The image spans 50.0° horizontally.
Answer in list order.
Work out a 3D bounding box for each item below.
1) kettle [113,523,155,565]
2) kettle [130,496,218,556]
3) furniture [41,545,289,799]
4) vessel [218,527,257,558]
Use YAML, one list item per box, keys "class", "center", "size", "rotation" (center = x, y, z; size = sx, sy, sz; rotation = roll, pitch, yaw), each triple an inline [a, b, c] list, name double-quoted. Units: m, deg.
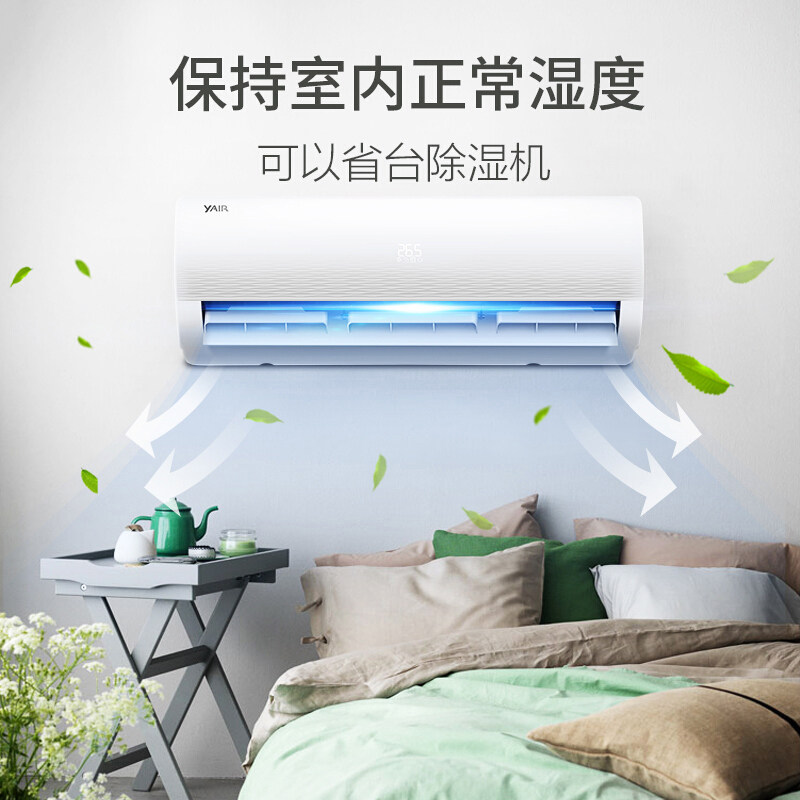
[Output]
- class: "kettle"
  center: [-0.786, 0.435, 2.587]
  size: [0.111, 0.111, 0.113]
  rotation: [-5, -6, 37]
- class: "kettle"
  center: [-0.719, 0.411, 2.728]
  size: [0.257, 0.177, 0.137]
  rotation: [0, -3, -19]
- class: "furniture"
  center: [-0.775, 0.671, 2.912]
  size: [0.746, 1.051, 0.897]
  rotation: [0, -1, 7]
- class: "vessel"
  center: [-0.514, 0.446, 2.687]
  size: [0.088, 0.064, 0.090]
  rotation: [0, -7, -2]
